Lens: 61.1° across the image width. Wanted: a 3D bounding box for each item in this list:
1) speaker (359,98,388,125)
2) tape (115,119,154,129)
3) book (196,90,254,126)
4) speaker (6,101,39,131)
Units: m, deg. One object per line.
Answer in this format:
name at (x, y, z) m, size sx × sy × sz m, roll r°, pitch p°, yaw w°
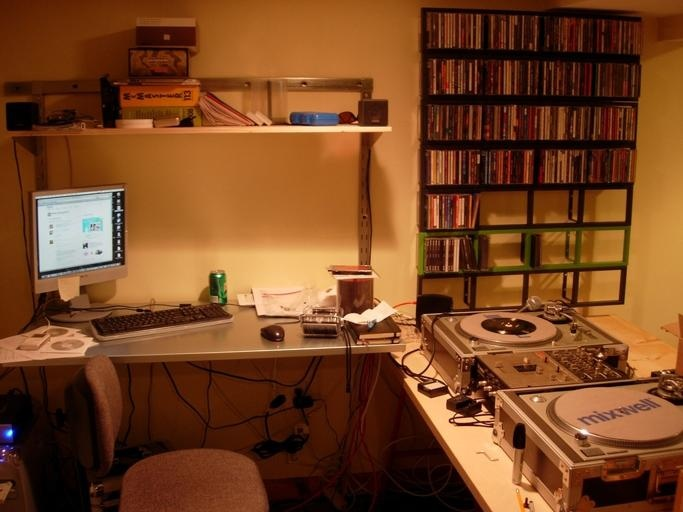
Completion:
speaker at (0.152, -0.668, 2.691) m, size 0.128 × 0.118 × 0.124 m, roll 0°, pitch 8°, yaw -1°
tape at (-0.943, -0.601, 2.639) m, size 0.163 × 0.051 × 0.108 m, roll -6°, pitch 10°, yaw -19°
book at (-0.561, -0.666, 2.690) m, size 0.200 × 0.070 × 0.195 m, roll 21°, pitch 3°, yaw -28°
speaker at (-1.457, -0.633, 2.699) m, size 0.144 × 0.147 × 0.150 m, roll 0°, pitch 2°, yaw -9°
